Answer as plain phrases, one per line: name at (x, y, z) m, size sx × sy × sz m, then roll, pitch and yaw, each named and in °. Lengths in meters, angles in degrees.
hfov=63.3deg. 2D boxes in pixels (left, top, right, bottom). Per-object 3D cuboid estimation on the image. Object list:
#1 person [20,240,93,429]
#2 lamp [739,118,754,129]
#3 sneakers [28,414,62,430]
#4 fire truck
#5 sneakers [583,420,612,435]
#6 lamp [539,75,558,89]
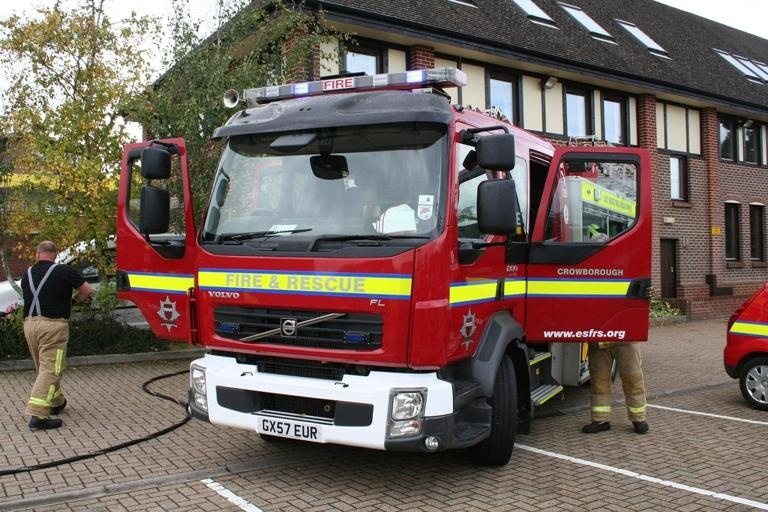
person at (-4.489, 1.033, 8.518) m, size 0.739 × 2.453 × 0.640 m, roll -1°, pitch 6°, yaw -28°
lamp at (14.204, -5.169, 24.380) m, size 0.507 × 0.383 × 0.104 m, roll -8°, pitch 39°, yaw -10°
sneakers at (-4.494, 2.185, 8.346) m, size 0.445 × 0.182 × 0.180 m, roll 1°, pitch 3°, yaw -22°
fire truck at (0.737, 0.152, 8.473) m, size 5.226 × 2.583 × 5.954 m, roll -2°, pitch -4°, yaw 36°
sneakers at (2.933, 2.320, 8.555) m, size 0.418 × 0.245 × 0.150 m, roll 4°, pitch -5°, yaw -21°
lamp at (5.051, -5.211, 18.877) m, size 0.343 × 0.398 × 0.468 m, roll -1°, pitch -9°, yaw -17°
